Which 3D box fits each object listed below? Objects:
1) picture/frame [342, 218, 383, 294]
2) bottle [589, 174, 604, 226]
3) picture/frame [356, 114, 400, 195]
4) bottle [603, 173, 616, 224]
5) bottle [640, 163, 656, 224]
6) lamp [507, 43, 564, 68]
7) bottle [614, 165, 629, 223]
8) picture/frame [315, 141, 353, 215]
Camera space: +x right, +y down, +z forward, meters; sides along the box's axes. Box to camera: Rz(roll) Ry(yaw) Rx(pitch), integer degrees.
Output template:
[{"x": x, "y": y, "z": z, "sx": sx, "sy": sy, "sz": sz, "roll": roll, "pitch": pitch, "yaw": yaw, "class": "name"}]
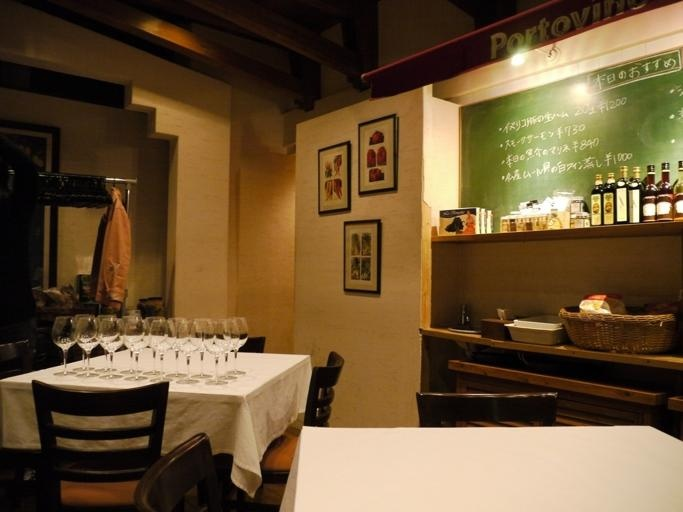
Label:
[{"x": 0.157, "y": 0.007, "z": 4.393, "sx": 0.405, "sy": 0.563, "sz": 0.019, "roll": 0, "pitch": 1, "yaw": -42, "class": "picture/frame"}, {"x": 1.537, "y": -0.330, "z": 3.372, "sx": 0.064, "sy": 0.294, "sz": 0.270, "roll": 1, "pitch": 5, "yaw": 23, "class": "bottle"}, {"x": 0.283, "y": -0.757, "z": 4.292, "sx": 0.064, "sy": 0.590, "sz": 0.412, "roll": -5, "pitch": 6, "yaw": -40, "class": "picture/frame"}, {"x": 1.566, "y": -0.303, "z": 3.275, "sx": 0.065, "sy": 0.232, "sz": 0.080, "roll": 1, "pitch": 5, "yaw": 24, "class": "bottle"}, {"x": 1.784, "y": -0.359, "z": 3.251, "sx": 0.078, "sy": 0.318, "sz": 0.333, "roll": 2, "pitch": 5, "yaw": 28, "class": "bottle"}, {"x": 1.301, "y": -1.356, "z": 3.850, "sx": 0.376, "sy": 0.130, "sz": 0.119, "roll": 4, "pitch": 7, "yaw": 44, "class": "lamp"}, {"x": 1.623, "y": -0.315, "z": 3.240, "sx": 0.073, "sy": 0.251, "sz": 0.075, "roll": -1, "pitch": 5, "yaw": 0, "class": "bottle"}, {"x": -0.048, "y": -0.640, "z": 4.638, "sx": 0.057, "sy": 0.861, "sz": 0.594, "roll": 1, "pitch": -1, "yaw": -36, "class": "picture/frame"}]
